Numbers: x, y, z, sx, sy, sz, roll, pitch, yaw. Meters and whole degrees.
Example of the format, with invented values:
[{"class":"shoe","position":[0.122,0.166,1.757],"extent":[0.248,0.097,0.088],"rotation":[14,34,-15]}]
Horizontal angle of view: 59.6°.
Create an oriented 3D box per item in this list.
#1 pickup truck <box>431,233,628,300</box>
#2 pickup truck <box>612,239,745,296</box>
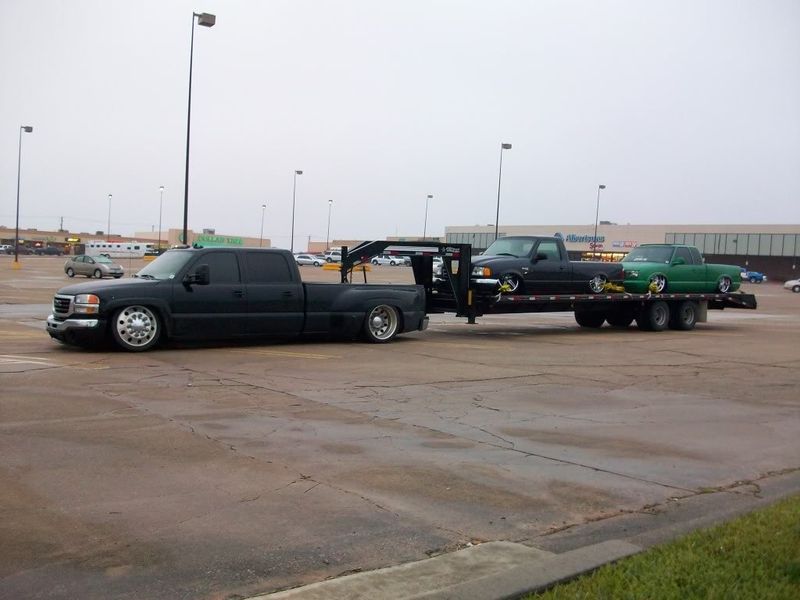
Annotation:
[{"class":"pickup truck","position":[3.797,-0.850,19.499],"extent":[3.402,1.190,2.211],"rotation":[2,0,-25]},{"class":"pickup truck","position":[8.608,-0.882,22.302],"extent":[3.577,1.225,1.951],"rotation":[4,-1,-25]}]
